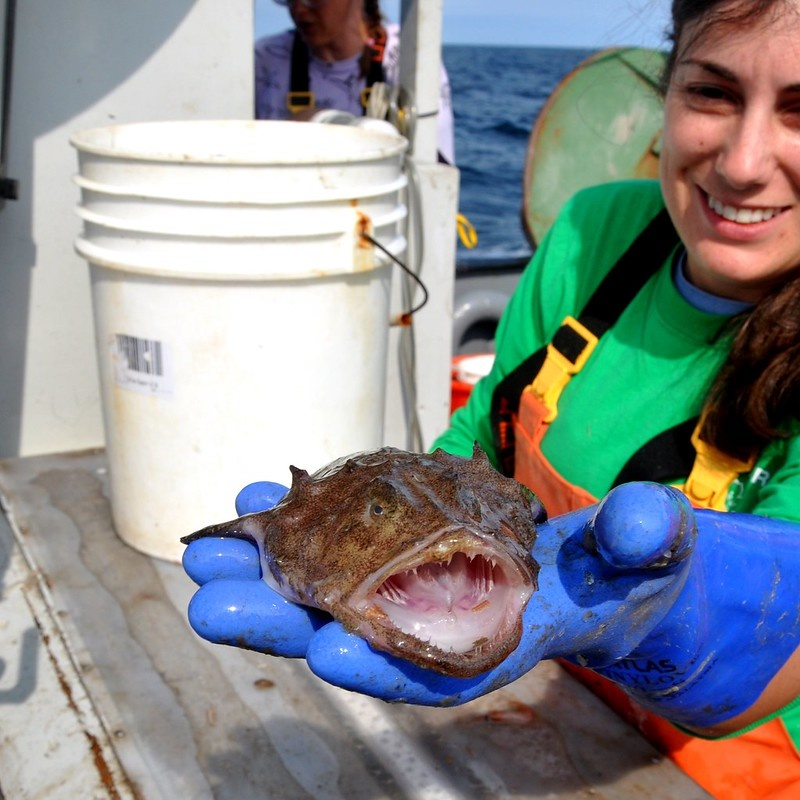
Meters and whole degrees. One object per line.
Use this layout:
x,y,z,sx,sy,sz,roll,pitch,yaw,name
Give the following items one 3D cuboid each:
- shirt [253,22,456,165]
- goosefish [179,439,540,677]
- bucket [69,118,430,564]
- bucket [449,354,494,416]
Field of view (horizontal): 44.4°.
-0.341,-1.401,4.408,0.877,0.767,0.314,0,2,11,shirt
0.035,0.252,1.832,0.508,0.231,0.655,-13,23,-40,goosefish
-0.491,-0.230,2.908,0.966,1.030,0.936,-1,16,0,bucket
0.257,-0.067,4.374,0.270,0.261,0.259,2,5,0,bucket
